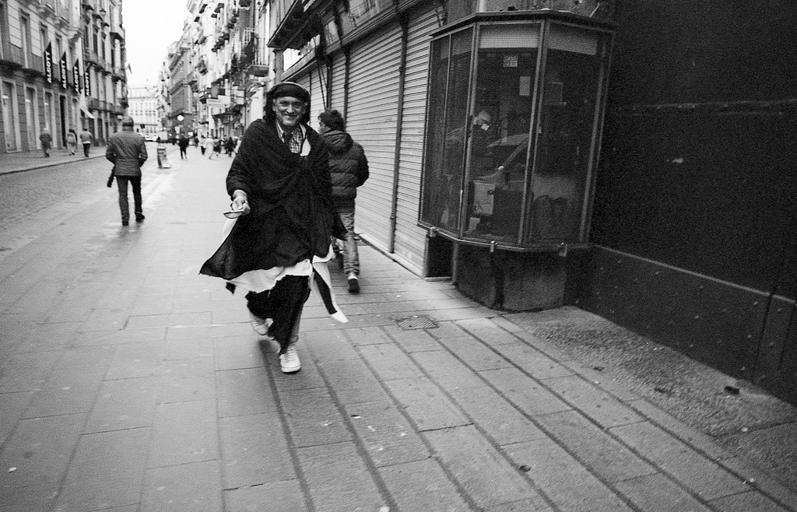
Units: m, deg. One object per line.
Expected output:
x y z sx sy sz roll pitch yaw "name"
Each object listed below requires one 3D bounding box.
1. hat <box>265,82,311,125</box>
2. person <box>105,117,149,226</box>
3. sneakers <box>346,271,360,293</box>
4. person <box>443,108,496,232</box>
-0.991 -1.380 4.787 0.435 0.308 0.434 1 15 -4 "hat"
-5.361 -1.693 10.442 0.713 2.064 1.328 -9 16 -25 "person"
-0.585 0.367 6.872 0.123 0.319 0.131 1 60 -6 "sneakers"
1.005 -1.005 6.226 0.428 1.445 0.287 1 15 9 "person"
